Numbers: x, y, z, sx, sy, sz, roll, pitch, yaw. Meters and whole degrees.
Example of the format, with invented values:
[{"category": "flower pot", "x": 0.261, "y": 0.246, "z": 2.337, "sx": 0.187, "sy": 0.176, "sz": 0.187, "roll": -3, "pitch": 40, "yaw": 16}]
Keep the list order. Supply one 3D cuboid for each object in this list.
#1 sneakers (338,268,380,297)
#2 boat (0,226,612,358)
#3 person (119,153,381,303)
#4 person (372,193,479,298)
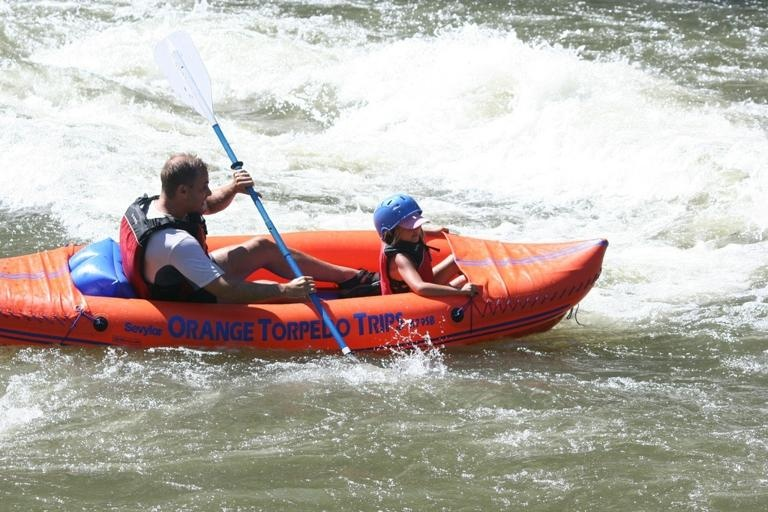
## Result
[{"category": "sneakers", "x": -0.211, "y": 0.272, "z": 10.186, "sx": 0.430, "sy": 0.125, "sz": 0.225, "roll": -8, "pitch": 0, "yaw": -8}, {"category": "boat", "x": -0.738, "y": 0.456, "z": 9.931, "sx": 5.868, "sy": 0.783, "sz": 1.756, "roll": -2, "pitch": 22, "yaw": -2}, {"category": "person", "x": -1.183, "y": -0.140, "z": 9.903, "sx": 2.298, "sy": 0.961, "sz": 1.161, "roll": -2, "pitch": 16, "yaw": -20}, {"category": "person", "x": 0.470, "y": -0.020, "z": 10.191, "sx": 1.177, "sy": 1.109, "sz": 0.922, "roll": 0, "pitch": 20, "yaw": 7}]
